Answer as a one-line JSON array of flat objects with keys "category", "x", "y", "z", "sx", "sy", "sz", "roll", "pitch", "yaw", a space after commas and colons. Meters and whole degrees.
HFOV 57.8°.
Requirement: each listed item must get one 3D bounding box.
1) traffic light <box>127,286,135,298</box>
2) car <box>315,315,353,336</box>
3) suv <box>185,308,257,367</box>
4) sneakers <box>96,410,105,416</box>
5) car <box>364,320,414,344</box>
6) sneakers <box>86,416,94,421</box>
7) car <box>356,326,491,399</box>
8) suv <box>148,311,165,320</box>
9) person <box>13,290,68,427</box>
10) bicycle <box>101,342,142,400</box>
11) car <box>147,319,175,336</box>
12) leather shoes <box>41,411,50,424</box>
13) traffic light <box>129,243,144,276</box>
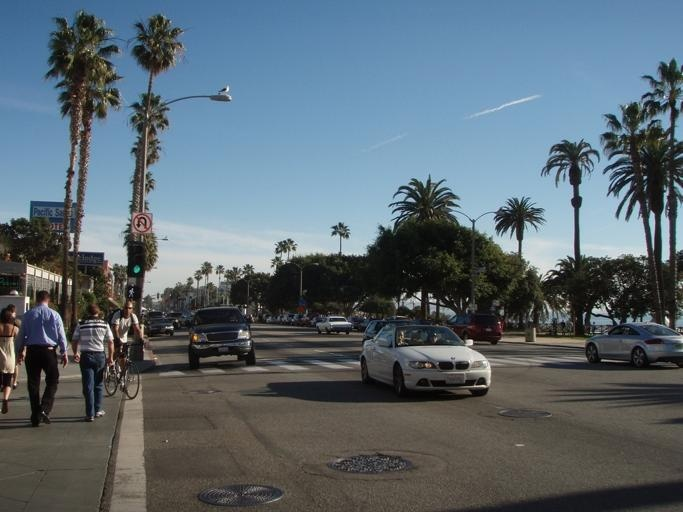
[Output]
[{"category": "traffic light", "x": -7.690, "y": 1.327, "z": 22.629, "sx": 0.362, "sy": 0.389, "sz": 0.090, "roll": 8, "pitch": 0, "yaw": 27}, {"category": "car", "x": -0.683, "y": 6.481, "z": 58.126, "sx": 2.592, "sy": 1.531, "sz": 2.808, "roll": 0, "pitch": -3, "yaw": -16}, {"category": "suv", "x": -4.483, "y": 2.988, "z": 23.034, "sx": 1.359, "sy": 1.515, "sz": 2.974, "roll": 1, "pitch": -16, "yaw": -11}, {"category": "sneakers", "x": -4.774, "y": 3.115, "z": 12.270, "sx": 0.056, "sy": 0.067, "sz": 0.143, "roll": 1, "pitch": -1, "yaw": 1}, {"category": "car", "x": 1.784, "y": 3.084, "z": 25.377, "sx": 1.143, "sy": 1.161, "sz": 2.000, "roll": 1, "pitch": 4, "yaw": 41}, {"category": "sneakers", "x": -4.793, "y": 3.098, "z": 11.811, "sx": 0.059, "sy": 0.079, "sz": 0.162, "roll": 2, "pitch": 1, "yaw": -38}, {"category": "car", "x": 1.789, "y": 2.595, "z": 15.268, "sx": 1.364, "sy": 1.058, "sz": 3.065, "roll": 2, "pitch": -13, "yaw": -13}, {"category": "suv", "x": -16.647, "y": 5.323, "z": 55.416, "sx": 0.987, "sy": 0.949, "sz": 1.749, "roll": 1, "pitch": 4, "yaw": -13}, {"category": "person", "x": -5.506, "y": 1.853, "z": 11.390, "sx": 0.887, "sy": 2.450, "sz": 0.637, "roll": -1, "pitch": -1, "yaw": 10}, {"category": "bicycle", "x": -5.269, "y": 2.919, "z": 15.200, "sx": 0.696, "sy": 1.011, "sz": 1.430, "roll": 9, "pitch": -16, "yaw": -35}, {"category": "car", "x": -15.295, "y": 6.012, "z": 52.003, "sx": 1.205, "sy": 1.084, "sz": 2.999, "roll": 0, "pitch": 0, "yaw": -17}, {"category": "leather shoes", "x": -5.381, "y": 2.987, "z": 11.281, "sx": 0.095, "sy": 0.332, "sz": 0.122, "roll": -11, "pitch": 40, "yaw": -13}, {"category": "traffic light", "x": -6.887, "y": 0.103, "z": 20.687, "sx": 0.517, "sy": 1.154, "sz": 0.674, "roll": -1, "pitch": -2, "yaw": -11}]
